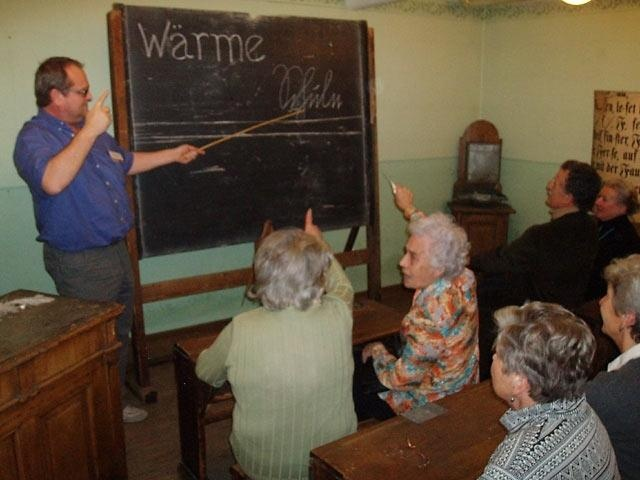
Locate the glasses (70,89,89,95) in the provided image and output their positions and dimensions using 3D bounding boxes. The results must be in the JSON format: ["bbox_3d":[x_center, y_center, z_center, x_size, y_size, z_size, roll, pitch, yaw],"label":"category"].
[{"bbox_3d":[-1.398,-0.895,3.056,0.046,0.044,0.121,1,17,16],"label":"glasses"}]

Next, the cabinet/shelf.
[{"bbox_3d":[1.414,-0.129,4.551,0.432,0.537,0.351,-7,24,-12],"label":"cabinet/shelf"}]

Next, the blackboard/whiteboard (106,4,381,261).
[{"bbox_3d":[-0.594,-0.842,3.728,2.018,1.635,0.104,-8,13,-31],"label":"blackboard/whiteboard"}]
